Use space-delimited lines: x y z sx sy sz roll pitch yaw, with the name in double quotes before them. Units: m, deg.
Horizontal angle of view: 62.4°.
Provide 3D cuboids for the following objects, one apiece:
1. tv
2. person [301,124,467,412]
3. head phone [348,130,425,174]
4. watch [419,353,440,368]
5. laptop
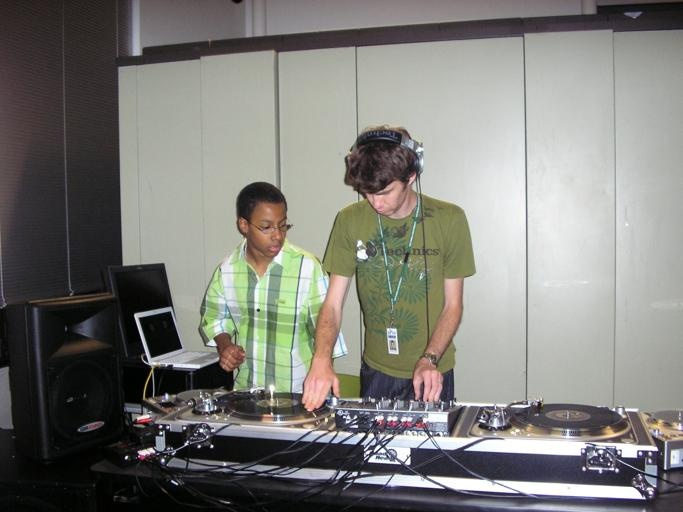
"tv" -1.145 0.327 3.173 0.045 0.589 0.494 -13 -5 35
"person" 0.228 0.053 2.333 0.682 1.188 0.649 1 -1 5
"head phone" 0.210 -0.432 2.380 0.311 0.183 0.175 1 -1 -6
"watch" 0.348 0.409 2.237 0.069 0.045 0.083 0 -1 13
"laptop" -0.975 0.496 3.315 0.338 0.310 0.408 -1 -2 9
